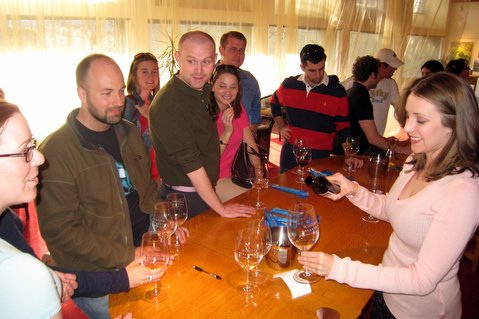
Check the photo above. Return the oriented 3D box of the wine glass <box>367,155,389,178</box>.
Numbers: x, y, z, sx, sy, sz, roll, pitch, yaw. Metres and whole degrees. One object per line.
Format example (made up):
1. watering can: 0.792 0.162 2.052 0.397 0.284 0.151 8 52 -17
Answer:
1. wine glass: 1.209 0.068 2.952 0.176 0.237 0.176 6 9 4

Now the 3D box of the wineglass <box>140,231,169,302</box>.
1. wineglass: -0.457 0.575 1.911 0.248 0.354 0.174 -12 24 -37

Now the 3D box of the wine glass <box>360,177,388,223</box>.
1. wine glass: 0.987 0.308 2.458 0.216 0.254 0.221 -4 23 0

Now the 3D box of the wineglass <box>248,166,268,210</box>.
1. wineglass: 0.150 0.210 2.656 0.154 0.377 0.176 2 12 16

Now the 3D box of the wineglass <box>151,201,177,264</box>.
1. wineglass: -0.497 0.493 2.191 0.171 0.372 0.171 -4 23 -22

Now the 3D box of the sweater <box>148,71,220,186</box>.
1. sweater: -0.493 -0.209 2.971 0.613 1.000 1.130 0 14 -12

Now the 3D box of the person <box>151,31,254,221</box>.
1. person: -0.300 -0.257 2.910 0.712 2.115 0.940 6 39 5

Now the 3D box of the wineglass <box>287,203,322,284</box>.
1. wineglass: 0.392 0.484 1.979 0.194 0.470 0.205 -4 1 -8

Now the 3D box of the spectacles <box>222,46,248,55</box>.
1. spectacles: -0.057 -1.395 4.276 0.268 0.097 0.090 -4 16 -18

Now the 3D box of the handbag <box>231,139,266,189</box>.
1. handbag: 0.074 -0.010 3.154 0.218 0.460 0.454 2 18 12

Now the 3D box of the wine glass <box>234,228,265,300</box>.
1. wine glass: 0.056 0.556 1.845 0.154 0.364 0.203 5 16 12
